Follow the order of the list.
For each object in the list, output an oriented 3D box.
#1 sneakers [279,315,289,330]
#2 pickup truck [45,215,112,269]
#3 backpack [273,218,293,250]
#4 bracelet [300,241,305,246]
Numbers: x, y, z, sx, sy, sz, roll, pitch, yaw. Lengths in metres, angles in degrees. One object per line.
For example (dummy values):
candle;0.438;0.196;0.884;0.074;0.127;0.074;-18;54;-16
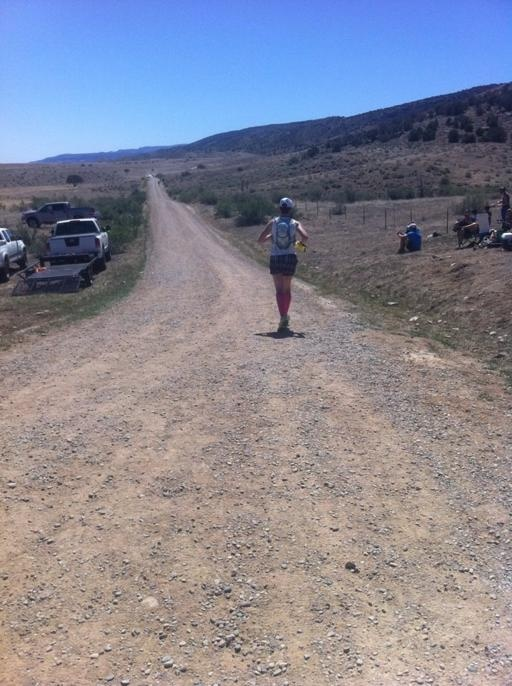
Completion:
sneakers;0.468;-0.338;10.091;0.167;0.313;0.171;5;45;7
pickup truck;-5.223;-2.843;17.598;1.180;0.979;2.556;0;23;-4
backpack;0.412;-1.674;9.287;0.304;0.489;0.202;-2;14;1
bracelet;0.712;-1.537;9.332;0.060;0.060;0.015;-5;-4;22
